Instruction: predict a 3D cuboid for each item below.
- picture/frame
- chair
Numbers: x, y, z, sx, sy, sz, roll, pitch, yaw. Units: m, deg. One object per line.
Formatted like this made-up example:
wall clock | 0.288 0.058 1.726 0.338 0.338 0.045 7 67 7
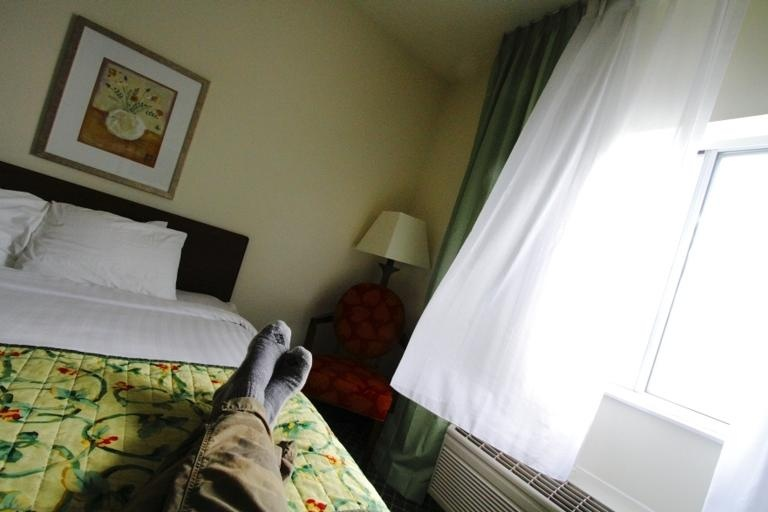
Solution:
picture/frame | -1.625 -0.922 2.794 0.970 0.990 0.049 24 -1 -36
chair | -0.193 0.758 3.184 0.663 1.032 0.786 17 10 6
